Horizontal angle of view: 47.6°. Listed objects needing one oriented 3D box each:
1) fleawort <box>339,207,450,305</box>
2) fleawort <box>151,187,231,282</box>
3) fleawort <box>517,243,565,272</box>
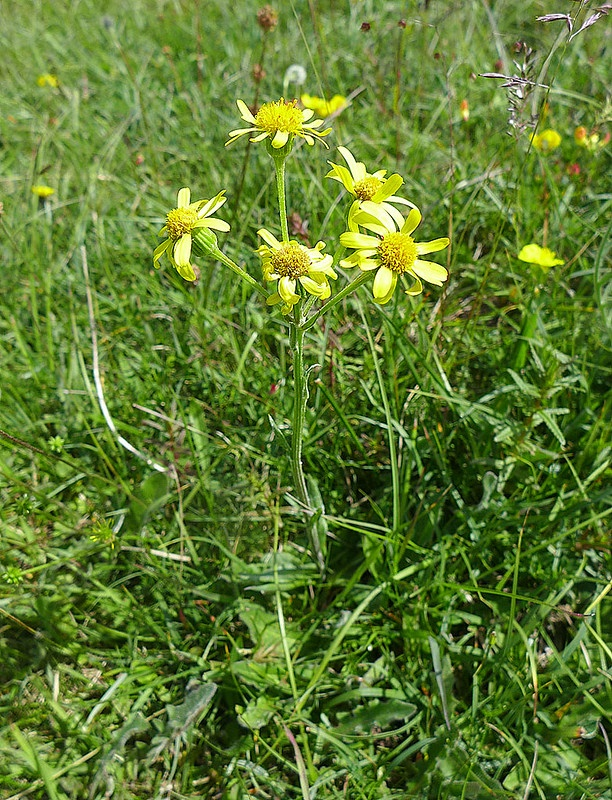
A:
[{"bbox_3d":[0.184,-0.358,1.562,0.181,0.190,0.062,29,67,-2],"label":"fleawort"},{"bbox_3d":[-0.285,-0.395,1.563,0.195,0.190,0.087,-19,69,22],"label":"fleawort"},{"bbox_3d":[0.740,-0.432,2.194,0.109,0.110,0.057,54,129,32],"label":"fleawort"}]
